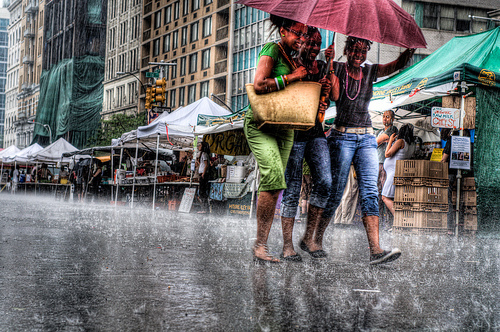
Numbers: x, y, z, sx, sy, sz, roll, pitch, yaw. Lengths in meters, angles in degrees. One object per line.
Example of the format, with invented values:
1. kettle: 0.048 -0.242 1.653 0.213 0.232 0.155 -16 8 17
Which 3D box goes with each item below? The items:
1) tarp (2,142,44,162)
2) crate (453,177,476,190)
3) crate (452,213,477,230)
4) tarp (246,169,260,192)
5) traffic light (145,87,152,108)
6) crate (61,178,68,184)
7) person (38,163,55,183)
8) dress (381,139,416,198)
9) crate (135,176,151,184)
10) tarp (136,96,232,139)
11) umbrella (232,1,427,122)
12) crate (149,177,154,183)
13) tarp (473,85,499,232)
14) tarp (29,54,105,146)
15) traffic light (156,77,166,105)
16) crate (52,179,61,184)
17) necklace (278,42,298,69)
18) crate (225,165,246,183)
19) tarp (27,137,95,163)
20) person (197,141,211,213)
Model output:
1. tarp: -14.464 -0.801 40.260 2.242 1.393 2.461 0 1 -14
2. crate: 4.341 0.360 12.793 0.269 0.190 0.274 1 1 23
3. crate: 4.301 1.103 12.798 0.525 0.386 0.281 -2 -5 40
4. tarp: 0.013 0.351 16.256 0.181 0.538 0.366 12 -10 -39
5. traffic light: -4.256 -2.898 26.965 0.254 0.632 0.450 4 -2 -9
6. crate: -9.827 0.785 33.661 0.235 0.186 0.243 -1 2 -5
7. person: -12.700 0.418 39.687 0.970 1.259 0.604 -3 -9 -12
8. dress: 3.068 0.069 13.253 0.599 1.238 0.513 -1 -1 18
9. crate: -3.615 0.454 21.418 0.319 0.199 1.653 5 -2 -19
10. tarp: -2.031 -1.608 20.163 2.299 1.562 1.969 5 -3 -35
11. umbrella: 0.809 -1.322 7.946 1.633 1.061 1.668 12 5 -36
12. crate: -3.188 0.436 20.615 0.128 0.138 0.454 5 -2 -21
13. tarp: 4.760 -0.135 12.824 0.452 2.635 0.727 5 -8 -15
14. tarp: -24.131 -8.253 84.870 6.741 12.029 16.028 2 -1 -37
15. traffic light: -3.713 -3.151 26.338 0.422 0.751 0.407 5 -2 -24
16. crate: -10.829 0.853 35.410 0.427 0.298 0.451 0 -2 25
17. necklace: 0.426 -1.301 7.467 0.041 0.370 0.039 -21 24 19
18. crate: -0.377 0.223 17.031 0.442 0.343 0.446 -8 -7 32
19. tarp: -10.980 -0.978 36.435 2.791 1.176 4.718 5 -2 -25
20. person: -1.345 0.302 18.484 0.430 1.375 0.646 4 -2 -5
